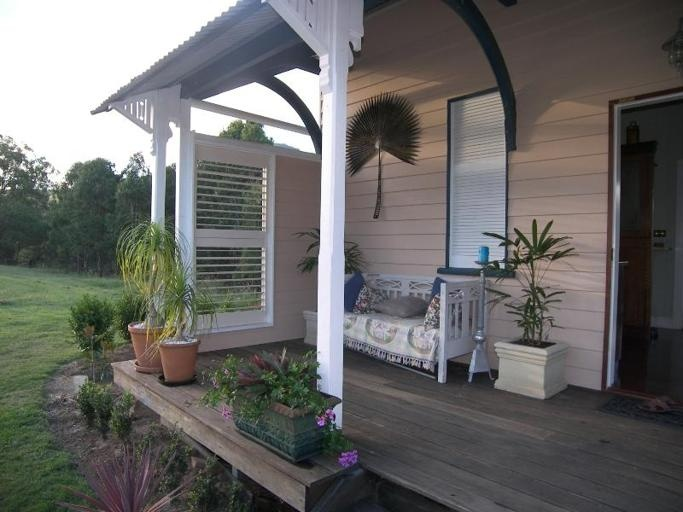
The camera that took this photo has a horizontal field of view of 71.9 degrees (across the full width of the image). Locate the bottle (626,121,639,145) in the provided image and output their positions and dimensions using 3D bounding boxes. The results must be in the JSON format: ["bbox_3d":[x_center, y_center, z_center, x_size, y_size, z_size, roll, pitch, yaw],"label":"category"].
[{"bbox_3d":[4.758,-2.002,7.635,0.141,0.353,0.260,2,12,-1],"label":"bottle"}]

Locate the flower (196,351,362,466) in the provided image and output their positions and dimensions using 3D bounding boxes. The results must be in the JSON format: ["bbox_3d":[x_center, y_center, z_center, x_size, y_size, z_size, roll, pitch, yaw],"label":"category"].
[{"bbox_3d":[-0.519,1.281,3.984,0.726,0.709,1.211,-2,0,-39],"label":"flower"}]

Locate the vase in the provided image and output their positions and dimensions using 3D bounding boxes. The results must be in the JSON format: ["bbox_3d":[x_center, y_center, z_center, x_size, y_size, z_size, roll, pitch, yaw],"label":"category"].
[{"bbox_3d":[-0.477,1.345,3.818,0.459,0.364,0.753,-1,2,-41],"label":"vase"}]

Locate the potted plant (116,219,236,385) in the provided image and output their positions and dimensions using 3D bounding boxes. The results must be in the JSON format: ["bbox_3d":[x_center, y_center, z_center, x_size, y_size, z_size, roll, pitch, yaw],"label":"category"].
[{"bbox_3d":[-1.890,0.489,5.056,0.969,1.663,0.571,8,13,26],"label":"potted plant"}]

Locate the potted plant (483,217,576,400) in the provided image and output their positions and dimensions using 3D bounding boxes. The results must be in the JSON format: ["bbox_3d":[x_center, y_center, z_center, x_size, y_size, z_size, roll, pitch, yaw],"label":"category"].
[{"bbox_3d":[2.126,0.600,5.300,0.937,1.798,1.068,0,-3,25],"label":"potted plant"}]

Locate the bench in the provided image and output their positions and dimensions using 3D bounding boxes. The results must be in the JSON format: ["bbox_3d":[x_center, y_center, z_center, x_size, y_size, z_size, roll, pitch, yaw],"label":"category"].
[{"bbox_3d":[0.860,0.986,6.585,1.051,1.269,2.653,8,-8,-25],"label":"bench"}]
